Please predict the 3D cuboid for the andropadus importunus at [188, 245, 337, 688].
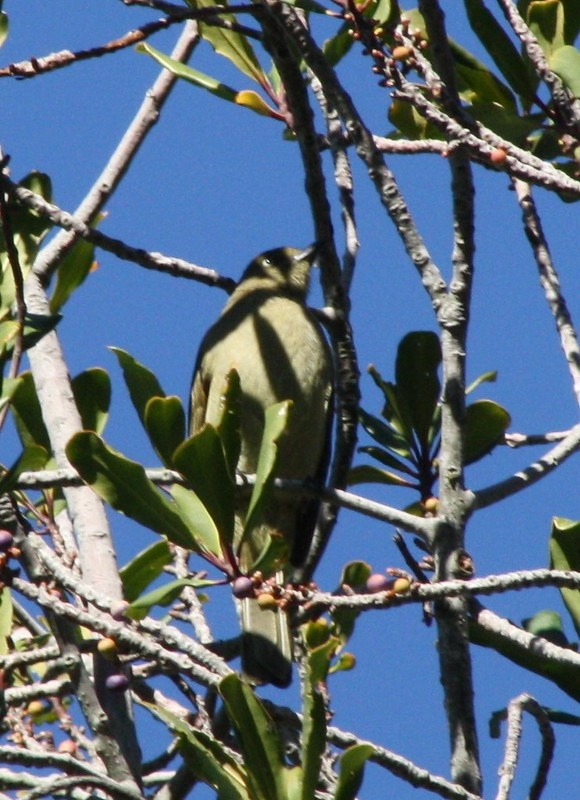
[{"bbox_3d":[-0.048,0.165,6.045,0.414,0.608,1.562,2,-98,-3],"label":"andropadus importunus"}]
